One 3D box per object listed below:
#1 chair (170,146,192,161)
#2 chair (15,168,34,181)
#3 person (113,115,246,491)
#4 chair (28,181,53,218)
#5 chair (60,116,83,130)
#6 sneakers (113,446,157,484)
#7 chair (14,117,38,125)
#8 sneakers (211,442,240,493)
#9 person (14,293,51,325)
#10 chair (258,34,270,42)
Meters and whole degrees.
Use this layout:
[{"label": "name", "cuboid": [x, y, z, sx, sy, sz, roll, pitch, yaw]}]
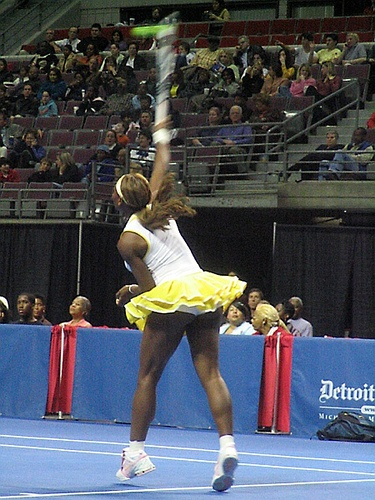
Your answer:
[{"label": "chair", "cuboid": [-0.125, -1.703, 16.690, 0.316, 0.262, 0.312, 1, 15, 5]}, {"label": "chair", "cuboid": [-3.022, -1.381, 17.809, 0.385, 0.224, 0.343, -2, -4, 18]}, {"label": "person", "cuboid": [-0.106, 0.262, 5.791, 0.706, 2.266, 0.999, 4, -5, -31]}, {"label": "chair", "cuboid": [-2.574, -0.931, 16.624, 0.501, 0.562, 0.422, 1, -11, -8]}, {"label": "chair", "cuboid": [-2.431, -2.641, 19.785, 0.384, 0.436, 0.399, 2, 2, 2]}, {"label": "sneakers", "cuboid": [-0.341, 1.256, 5.709, 0.113, 0.181, 0.316, -7, -18, -48]}, {"label": "chair", "cuboid": [-3.460, -2.718, 20.261, 0.515, 0.186, 0.116, 7, -17, 26]}, {"label": "sneakers", "cuboid": [0.186, 1.235, 5.451, 0.119, 0.269, 0.139, 9, 20, -10]}, {"label": "person", "cuboid": [-1.725, 0.651, 10.616, 0.366, 0.338, 0.924, 2, -4, -8]}, {"label": "chair", "cuboid": [1.862, -5.266, 23.993, 0.231, 0.264, 0.243, 1, 1, -4]}]
